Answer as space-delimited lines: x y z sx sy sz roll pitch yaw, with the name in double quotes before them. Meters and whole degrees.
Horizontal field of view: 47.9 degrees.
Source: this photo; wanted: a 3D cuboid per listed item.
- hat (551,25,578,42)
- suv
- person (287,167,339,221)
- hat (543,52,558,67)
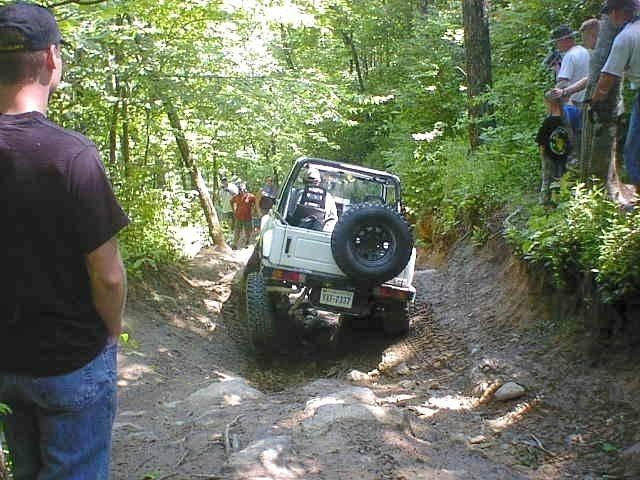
"hat" 3.187 -2.711 9.387 0.243 0.098 0.239 -26 15 5
"suv" 0.104 0.169 9.900 2.167 2.559 2.420 1 9 -5
"person" -0.069 -0.607 10.392 0.499 0.598 0.957 9 27 -11
"hat" 3.200 -2.471 9.921 0.061 0.209 0.193 21 43 -16
